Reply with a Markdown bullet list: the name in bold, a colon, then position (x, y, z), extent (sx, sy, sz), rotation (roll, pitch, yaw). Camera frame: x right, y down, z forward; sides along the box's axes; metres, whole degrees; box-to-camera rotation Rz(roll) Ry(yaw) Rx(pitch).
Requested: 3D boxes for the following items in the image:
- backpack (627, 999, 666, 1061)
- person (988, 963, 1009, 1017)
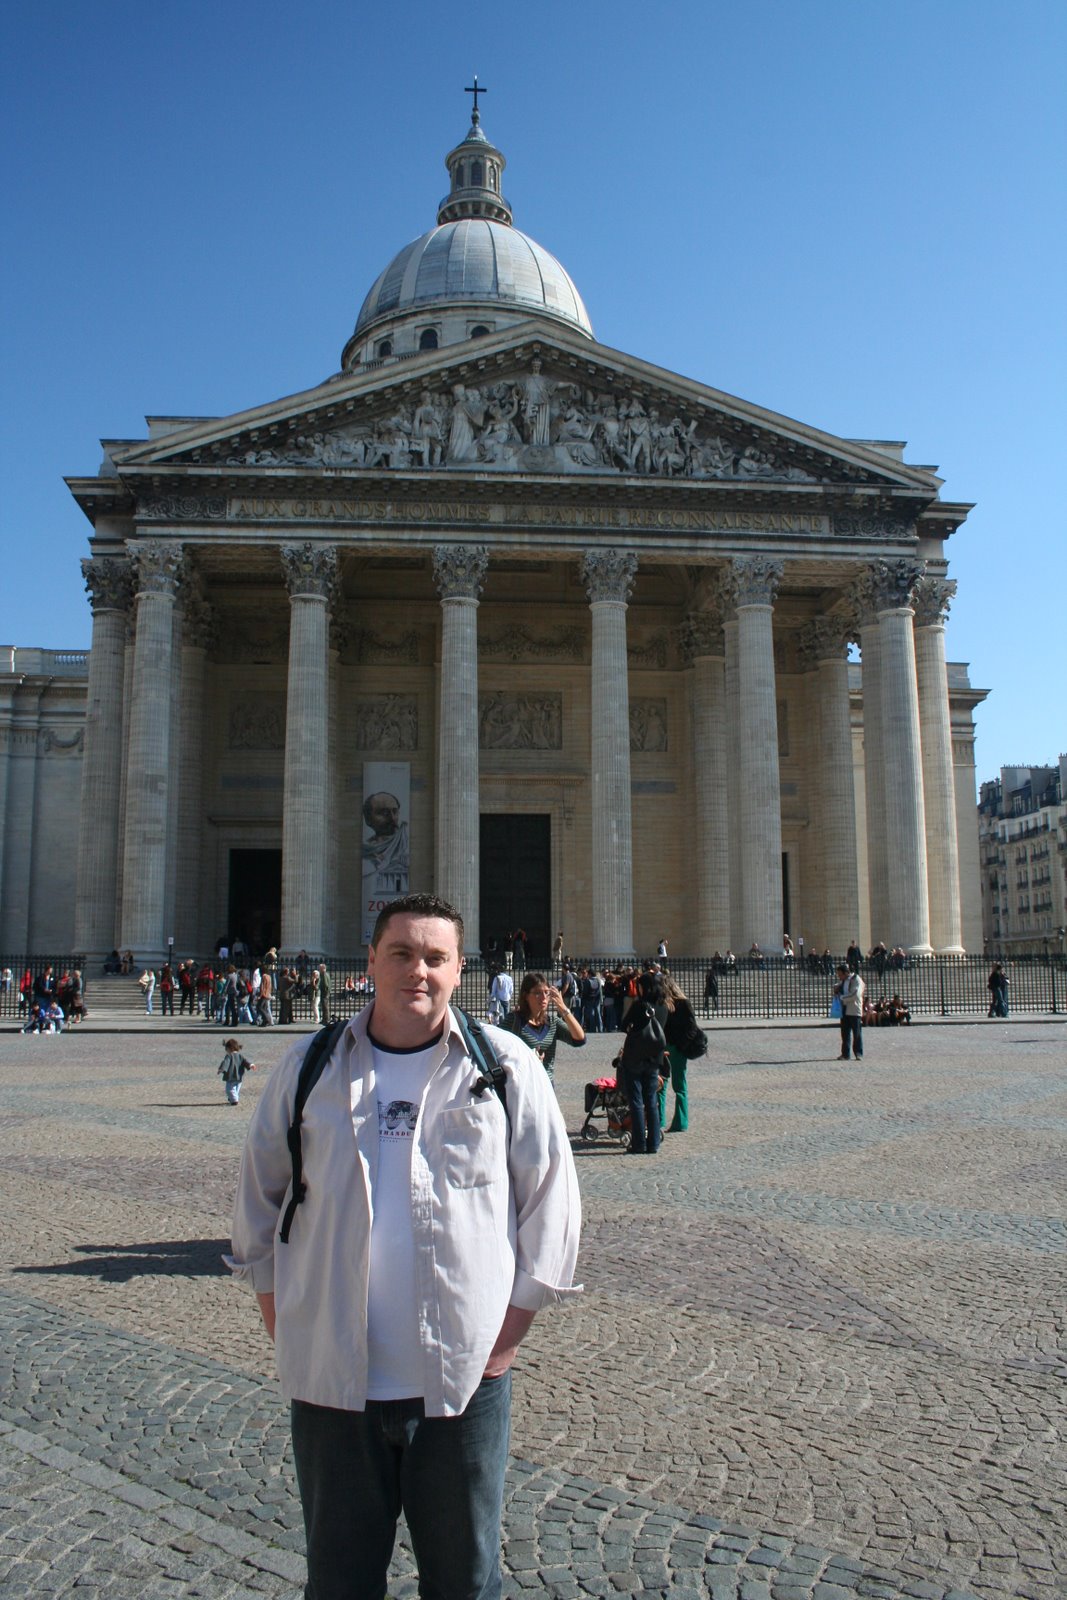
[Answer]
- **backpack**: position (1.078, 2.112, 12.682), extent (0.412, 0.801, 0.594), rotation (0, -7, -1)
- **person**: position (11.709, 4.932, 34.612), extent (0.391, 1.136, 0.824), rotation (-5, -7, 24)
